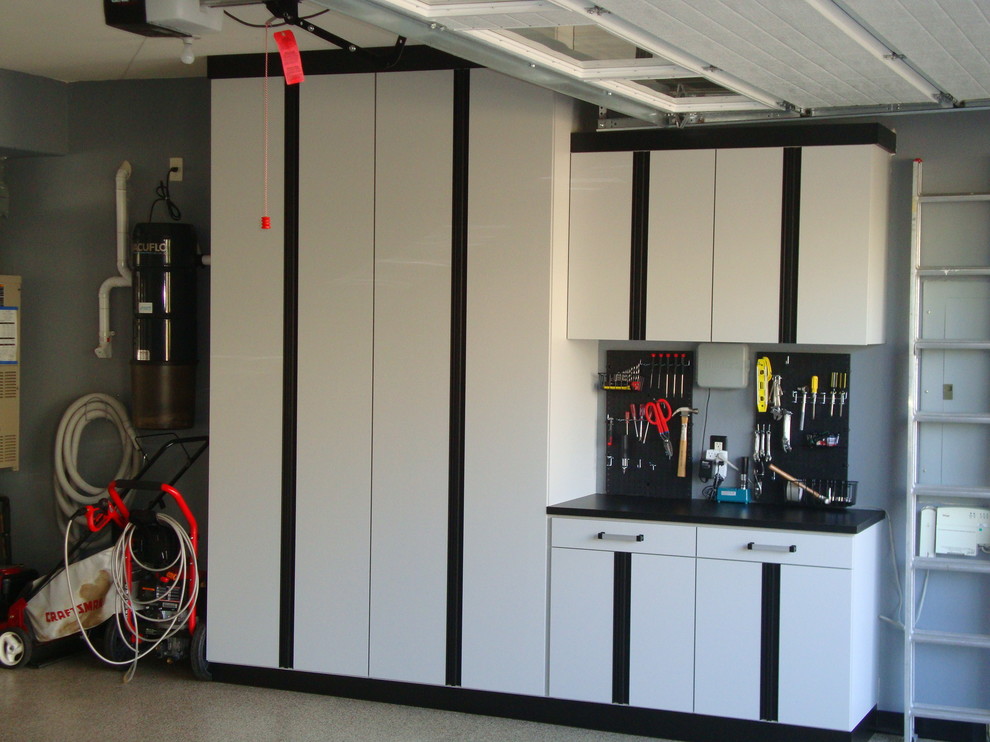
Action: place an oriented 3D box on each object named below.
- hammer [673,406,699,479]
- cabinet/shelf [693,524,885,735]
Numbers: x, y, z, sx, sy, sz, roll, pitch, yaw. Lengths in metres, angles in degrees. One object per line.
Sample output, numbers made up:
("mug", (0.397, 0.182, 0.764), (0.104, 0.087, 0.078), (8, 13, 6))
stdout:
("hammer", (1.140, 0.434, 5.464), (0.093, 0.433, 0.079), (3, 4, 10))
("cabinet/shelf", (1.726, 1.362, 5.168), (0.959, 1.324, 1.043), (-1, -3, 29))
